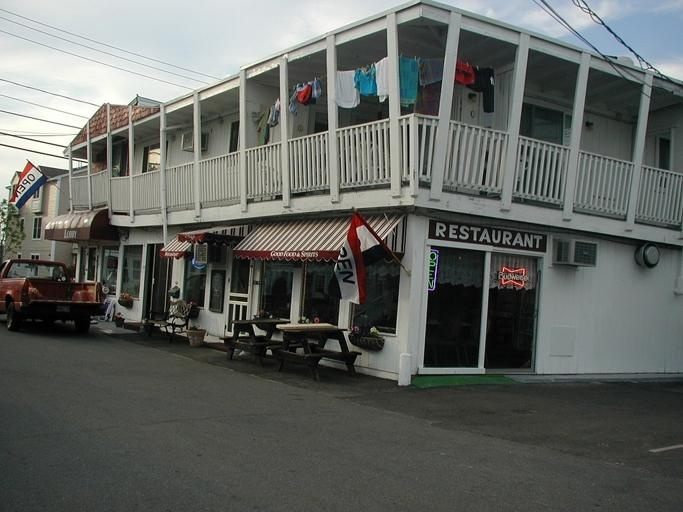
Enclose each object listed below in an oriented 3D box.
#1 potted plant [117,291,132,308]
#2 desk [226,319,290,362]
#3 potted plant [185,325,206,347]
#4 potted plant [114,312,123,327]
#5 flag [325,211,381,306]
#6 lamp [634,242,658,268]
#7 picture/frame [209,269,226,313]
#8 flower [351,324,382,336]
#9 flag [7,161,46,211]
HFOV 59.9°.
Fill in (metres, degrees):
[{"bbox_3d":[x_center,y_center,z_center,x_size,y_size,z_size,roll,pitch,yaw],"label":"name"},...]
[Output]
[{"bbox_3d":[-8.154,1.699,22.394,0.280,0.557,0.949,9,-9,-41],"label":"potted plant"},{"bbox_3d":[-2.134,2.012,14.533,1.169,0.844,1.204,6,-8,-43],"label":"desk"},{"bbox_3d":[-4.286,2.385,17.523,0.490,0.425,0.524,2,-10,1],"label":"potted plant"},{"bbox_3d":[-7.835,2.255,20.838,0.325,0.493,0.459,4,2,-10],"label":"potted plant"},{"bbox_3d":[0.334,0.055,12.509,0.959,1.848,0.452,3,-7,-1],"label":"flag"},{"bbox_3d":[8.129,-0.018,15.856,0.644,0.639,0.331,7,-8,-29],"label":"lamp"},{"bbox_3d":[-3.838,1.063,18.306,0.088,1.323,0.883,8,-9,-38],"label":"picture/frame"},{"bbox_3d":[0.517,1.715,13.603,0.361,0.214,0.912,10,-10,-41],"label":"flower"},{"bbox_3d":[-11.562,-2.556,21.907,0.905,1.714,1.333,7,-8,-29],"label":"flag"}]
